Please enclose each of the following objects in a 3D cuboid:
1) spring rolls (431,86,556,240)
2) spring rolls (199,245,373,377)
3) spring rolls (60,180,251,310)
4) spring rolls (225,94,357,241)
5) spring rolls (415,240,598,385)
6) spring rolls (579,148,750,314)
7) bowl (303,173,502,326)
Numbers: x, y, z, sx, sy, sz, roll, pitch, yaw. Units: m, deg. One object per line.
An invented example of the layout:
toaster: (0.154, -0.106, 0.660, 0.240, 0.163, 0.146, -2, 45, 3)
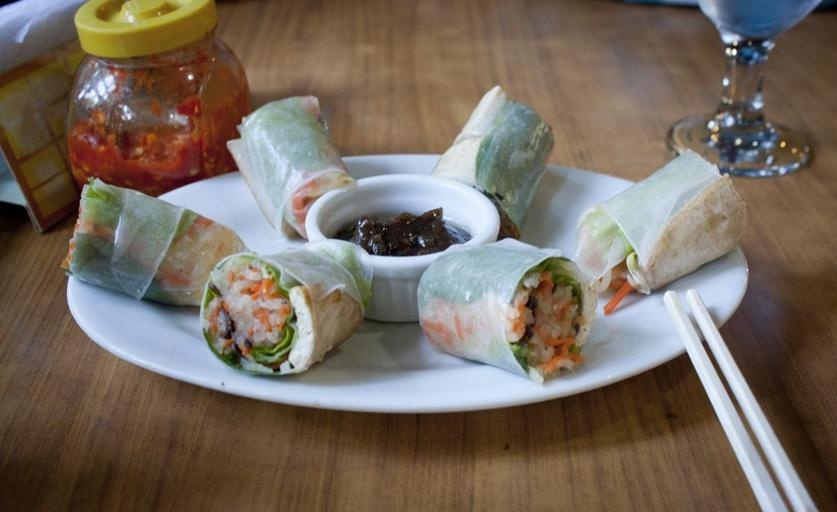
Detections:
spring rolls: (0.252, -0.343, 2.268, 0.329, 0.464, 0.346, 2, 22, -1)
spring rolls: (-0.331, 0.111, 1.911, 0.368, 0.240, 0.489, 13, 26, 21)
spring rolls: (-0.755, 0.031, 2.028, 0.500, 0.202, 0.299, 23, 65, 2)
spring rolls: (-0.402, -0.326, 2.228, 0.391, 0.438, 0.414, 16, 23, 37)
spring rolls: (0.207, 0.111, 1.804, 0.395, 0.345, 0.420, -4, 16, -17)
spring rolls: (0.706, -0.096, 2.010, 0.503, 0.225, 0.368, -21, 18, -24)
bowl: (-0.042, -0.116, 1.977, 0.471, 0.201, 0.483, -1, 37, 1)
